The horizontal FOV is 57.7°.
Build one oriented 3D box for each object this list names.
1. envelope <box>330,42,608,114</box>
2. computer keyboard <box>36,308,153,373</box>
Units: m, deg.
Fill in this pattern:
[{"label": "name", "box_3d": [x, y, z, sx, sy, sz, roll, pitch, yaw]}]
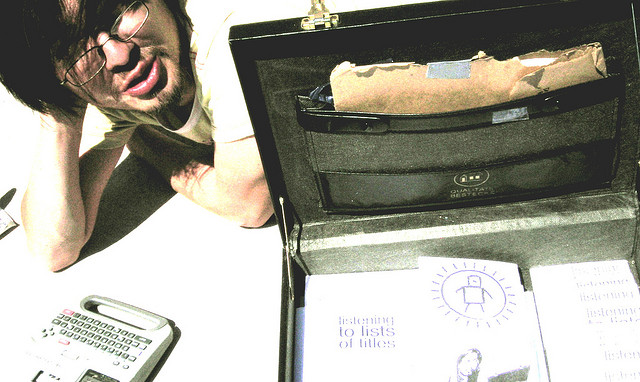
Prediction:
[{"label": "envelope", "box_3d": [0.272, -0.221, 1.186, 0.635, 0.174, 0.124, -3, 41, 9]}, {"label": "computer keyboard", "box_3d": [-0.533, 0.346, 1.319, 0.258, 0.025, 0.105, 19, 51, 15]}]
